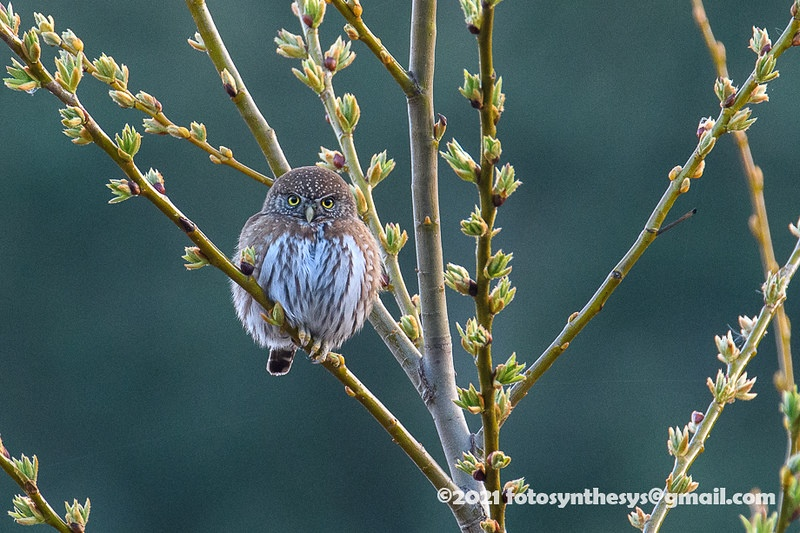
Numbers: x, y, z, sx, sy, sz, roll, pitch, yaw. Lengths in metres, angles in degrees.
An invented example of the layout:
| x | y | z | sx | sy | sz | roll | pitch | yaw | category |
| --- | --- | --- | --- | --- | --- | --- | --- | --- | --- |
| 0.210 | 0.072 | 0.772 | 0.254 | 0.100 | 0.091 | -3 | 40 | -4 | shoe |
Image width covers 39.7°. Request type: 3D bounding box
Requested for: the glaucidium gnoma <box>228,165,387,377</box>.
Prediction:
| x | y | z | sx | sy | sz | roll | pitch | yaw | category |
| --- | --- | --- | --- | --- | --- | --- | --- | --- | --- |
| -0.293 | 0.153 | 4.010 | 0.614 | 0.756 | 0.717 | 3 | -37 | -3 | glaucidium gnoma |
